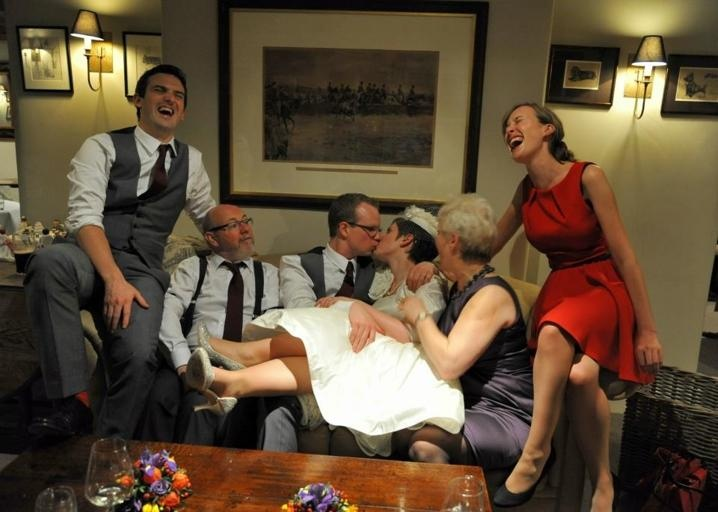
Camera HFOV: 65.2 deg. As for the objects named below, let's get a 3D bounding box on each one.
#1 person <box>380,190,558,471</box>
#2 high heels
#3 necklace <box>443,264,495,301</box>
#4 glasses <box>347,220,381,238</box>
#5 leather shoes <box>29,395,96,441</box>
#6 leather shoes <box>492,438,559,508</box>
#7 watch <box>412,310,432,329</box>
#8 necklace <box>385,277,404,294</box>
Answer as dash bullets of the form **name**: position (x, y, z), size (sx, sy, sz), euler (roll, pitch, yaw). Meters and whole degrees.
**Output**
- **person**: position (0.622, 0.445, 3.803), size (1.034, 2.549, 0.925), euler (1, -1, 12)
- **high heels**: position (-0.727, 0.603, 2.755), size (0.145, 0.392, 0.189), euler (-24, 10, -17)
- **necklace**: position (0.568, 0.118, 2.871), size (0.228, 0.080, 0.172), euler (-38, 8, -12)
- **glasses**: position (0.043, -0.172, 3.493), size (0.109, 0.038, 0.113), euler (24, 3, 11)
- **leather shoes**: position (-1.430, 0.814, 2.781), size (0.162, 0.235, 0.488), euler (1, -17, 3)
- **leather shoes**: position (0.833, 1.115, 2.796), size (0.404, 0.280, 0.132), euler (-6, 15, -33)
- **watch**: position (0.307, 0.311, 2.786), size (0.061, 0.084, 0.032), euler (31, -8, 44)
- **necklace**: position (0.211, 0.186, 3.353), size (0.069, 0.039, 0.102), euler (-2, 28, 26)
